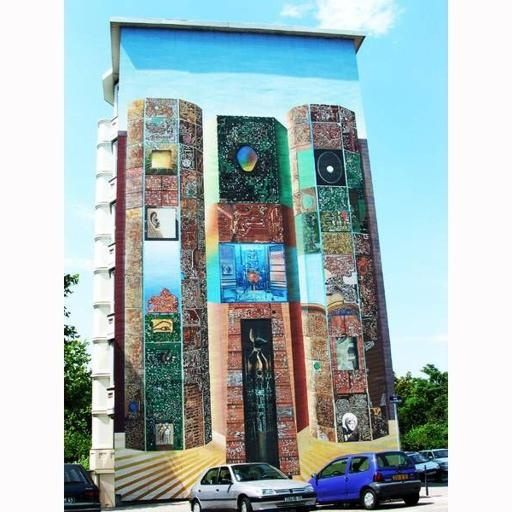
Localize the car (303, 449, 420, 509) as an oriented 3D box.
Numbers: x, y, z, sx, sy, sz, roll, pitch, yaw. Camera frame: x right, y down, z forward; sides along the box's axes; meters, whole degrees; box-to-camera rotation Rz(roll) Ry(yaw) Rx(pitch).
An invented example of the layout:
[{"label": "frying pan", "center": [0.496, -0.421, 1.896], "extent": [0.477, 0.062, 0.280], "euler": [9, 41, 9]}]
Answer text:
[{"label": "car", "center": [2.517, 5.403, 15.820], "extent": [1.797, 0.989, 2.878], "euler": [10, -19, -33]}]
